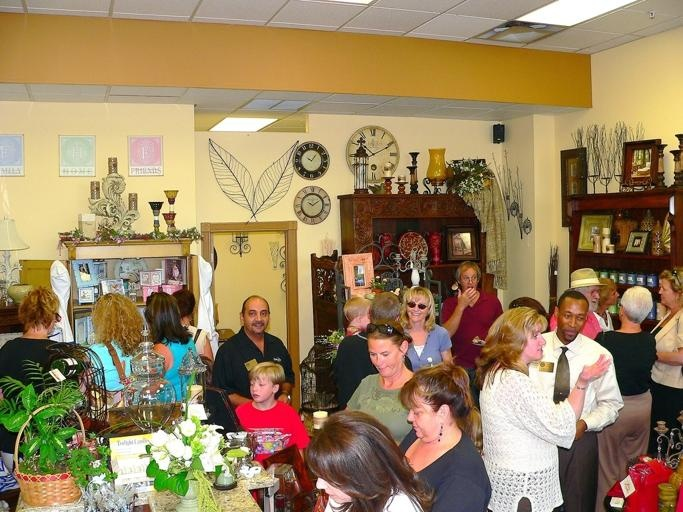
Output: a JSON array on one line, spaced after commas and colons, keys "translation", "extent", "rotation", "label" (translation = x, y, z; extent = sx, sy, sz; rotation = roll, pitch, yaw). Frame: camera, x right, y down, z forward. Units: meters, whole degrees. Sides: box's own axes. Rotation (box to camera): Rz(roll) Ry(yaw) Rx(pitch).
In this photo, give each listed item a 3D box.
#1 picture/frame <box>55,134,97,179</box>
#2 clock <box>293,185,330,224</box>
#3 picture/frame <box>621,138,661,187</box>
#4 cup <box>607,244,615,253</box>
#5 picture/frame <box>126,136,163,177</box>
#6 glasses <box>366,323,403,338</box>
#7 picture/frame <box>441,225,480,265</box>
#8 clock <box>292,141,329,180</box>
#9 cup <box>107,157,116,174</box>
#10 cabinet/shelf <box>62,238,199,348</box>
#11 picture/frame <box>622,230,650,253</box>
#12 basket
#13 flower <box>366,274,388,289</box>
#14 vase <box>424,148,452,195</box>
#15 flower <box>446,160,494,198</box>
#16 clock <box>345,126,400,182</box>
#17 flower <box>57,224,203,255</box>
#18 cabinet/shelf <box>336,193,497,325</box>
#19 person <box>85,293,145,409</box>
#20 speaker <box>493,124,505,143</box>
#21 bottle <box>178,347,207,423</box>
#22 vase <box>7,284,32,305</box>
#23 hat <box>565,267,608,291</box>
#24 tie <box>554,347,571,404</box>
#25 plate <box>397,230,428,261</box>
[{"translation": [-2.990, -1.123, 5.953], "extent": [0.454, 0.512, 0.017], "rotation": [-1, 2, -15], "label": "picture/frame"}, {"translation": [-0.448, -0.754, 7.577], "extent": [0.497, 0.533, 0.055], "rotation": [3, -3, -20], "label": "clock"}, {"translation": [3.584, -1.108, 6.348], "extent": [0.108, 0.716, 0.579], "rotation": [9, -6, -24], "label": "picture/frame"}, {"translation": [3.347, -0.093, 6.619], "extent": [0.090, 0.110, 0.092], "rotation": [0, 3, 0], "label": "cup"}, {"translation": [-2.290, -1.154, 6.135], "extent": [0.426, 0.497, 0.049], "rotation": [-3, 5, -13], "label": "picture/frame"}, {"translation": [0.259, 0.445, 3.304], "extent": [0.241, 0.097, 0.201], "rotation": [-2, 4, 15], "label": "glasses"}, {"translation": [1.717, -0.164, 7.779], "extent": [0.516, 0.556, 0.053], "rotation": [3, -9, -27], "label": "picture/frame"}, {"translation": [-0.464, -1.370, 7.537], "extent": [0.512, 0.554, 0.050], "rotation": [0, 3, -13], "label": "clock"}, {"translation": [-2.531, -1.003, 5.887], "extent": [0.106, 0.211, 0.337], "rotation": [-4, 4, -22], "label": "cup"}, {"translation": [-2.023, 0.404, 5.663], "extent": [0.942, 0.999, 0.343], "rotation": [-12, 5, -7], "label": "cabinet/shelf"}, {"translation": [3.552, -0.174, 6.395], "extent": [0.026, 0.264, 0.249], "rotation": [17, -11, -25], "label": "picture/frame"}, {"translation": [-1.431, 0.936, 2.608], "extent": [0.294, 0.505, 0.309], "rotation": [-5, 4, -35], "label": "basket"}, {"translation": [0.446, 0.293, 6.324], "extent": [0.148, 0.112, 0.157], "rotation": [-2, 4, -22], "label": "flower"}, {"translation": [1.399, -1.286, 7.739], "extent": [0.298, 0.561, 0.313], "rotation": [1, -1, 5], "label": "vase"}, {"translation": [1.836, -1.112, 7.634], "extent": [0.642, 0.516, 0.280], "rotation": [-2, 3, 13], "label": "flower"}, {"translation": [0.403, -1.476, 7.682], "extent": [0.800, 0.861, 0.078], "rotation": [0, -1, -18], "label": "clock"}, {"translation": [-2.184, -0.188, 5.542], "extent": [1.384, 0.259, 0.289], "rotation": [-4, 4, -12], "label": "flower"}, {"translation": [1.132, -0.088, 7.796], "extent": [1.945, 1.964, 0.626], "rotation": [-9, 19, -3], "label": "cabinet/shelf"}, {"translation": [-1.595, 0.674, 3.978], "extent": [0.338, 0.823, 0.489], "rotation": [0, -5, -12], "label": "person"}, {"translation": [2.411, -1.879, 8.172], "extent": [0.185, 0.302, 0.117], "rotation": [-3, 3, -14], "label": "speaker"}, {"translation": [-0.904, 0.756, 3.231], "extent": [0.193, 0.436, 0.185], "rotation": [1, 10, 0], "label": "bottle"}, {"translation": [-3.163, 0.369, 5.224], "extent": [0.281, 0.199, 0.258], "rotation": [0, 0, -43], "label": "vase"}, {"translation": [2.138, 0.231, 4.769], "extent": [0.220, 0.106, 0.266], "rotation": [-4, -8, -12], "label": "hat"}, {"translation": [1.477, 0.785, 3.573], "extent": [0.136, 0.348, 0.071], "rotation": [-4, 3, -28], "label": "tie"}, {"translation": [1.010, -0.166, 7.564], "extent": [0.595, 0.373, 0.309], "rotation": [-6, 5, -39], "label": "plate"}]
